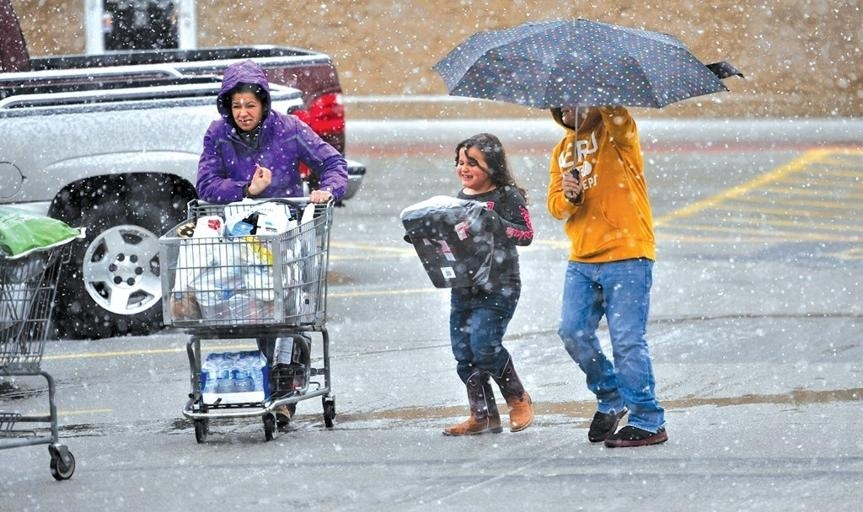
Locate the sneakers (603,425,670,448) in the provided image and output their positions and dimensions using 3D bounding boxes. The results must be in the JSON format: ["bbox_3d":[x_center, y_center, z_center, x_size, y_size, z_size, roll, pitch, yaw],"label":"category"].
[{"bbox_3d":[2.167,1.895,16.640,0.622,0.216,0.242,1,-4,-8],"label":"sneakers"}]

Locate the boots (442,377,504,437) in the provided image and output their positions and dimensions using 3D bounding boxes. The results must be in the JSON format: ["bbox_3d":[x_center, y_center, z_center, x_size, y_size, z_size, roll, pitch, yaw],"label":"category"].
[{"bbox_3d":[0.405,1.597,16.934,0.731,0.778,0.480,1,-6,0],"label":"boots"}]

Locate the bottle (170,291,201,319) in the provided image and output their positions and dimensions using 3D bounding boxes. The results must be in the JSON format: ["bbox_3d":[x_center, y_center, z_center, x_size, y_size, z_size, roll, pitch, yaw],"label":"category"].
[{"bbox_3d":[-2.619,0.503,16.727,0.236,0.394,0.220,-7,9,1],"label":"bottle"}]
